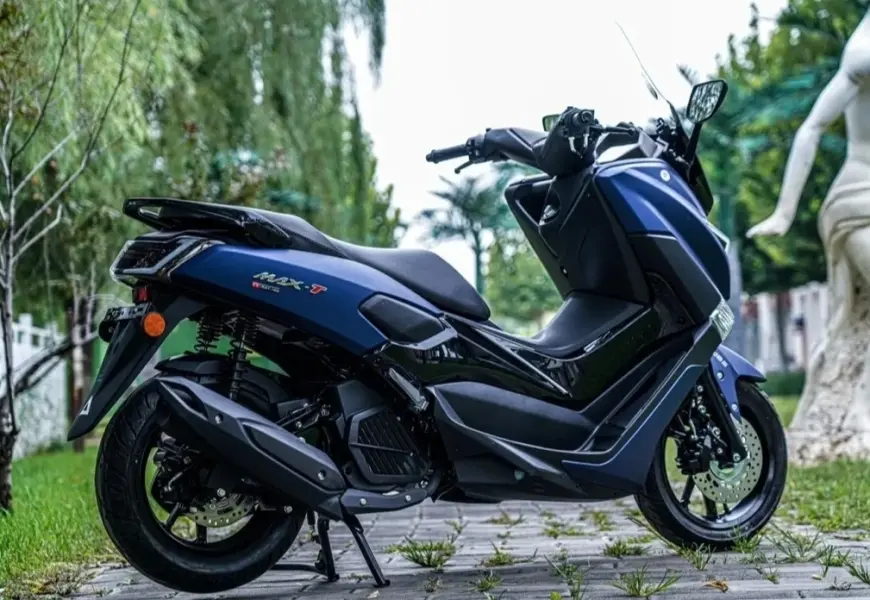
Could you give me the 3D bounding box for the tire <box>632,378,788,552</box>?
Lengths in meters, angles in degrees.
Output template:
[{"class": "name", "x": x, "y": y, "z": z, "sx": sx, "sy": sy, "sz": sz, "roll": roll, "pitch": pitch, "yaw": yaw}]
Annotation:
[{"class": "tire", "x": 1.779, "y": 1.082, "z": 7.680, "sx": 1.072, "sy": 1.222, "sz": 0.230, "roll": -1, "pitch": 1, "yaw": -11}]
